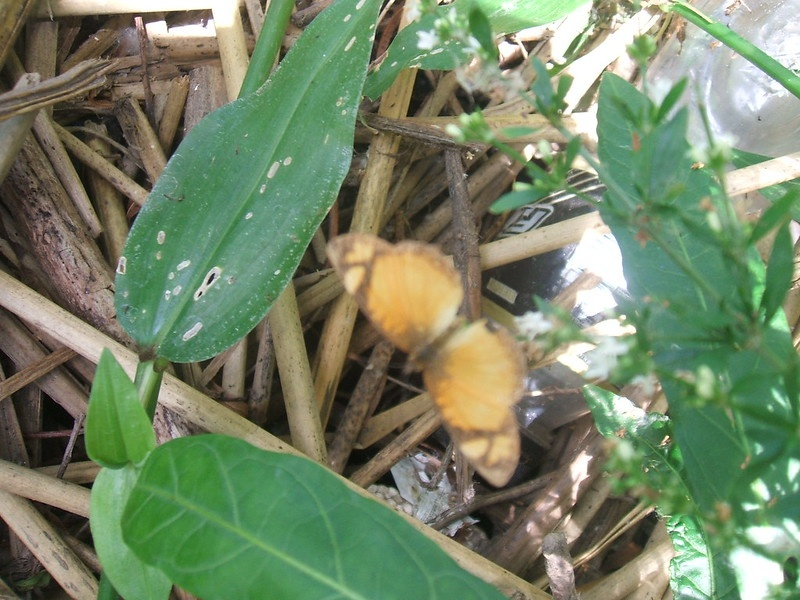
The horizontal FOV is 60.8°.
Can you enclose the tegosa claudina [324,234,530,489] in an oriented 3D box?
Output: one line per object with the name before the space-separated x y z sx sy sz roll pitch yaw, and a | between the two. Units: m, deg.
tegosa claudina | 0.010 0.111 0.970 0.114 0.440 0.173 31 -27 -6
